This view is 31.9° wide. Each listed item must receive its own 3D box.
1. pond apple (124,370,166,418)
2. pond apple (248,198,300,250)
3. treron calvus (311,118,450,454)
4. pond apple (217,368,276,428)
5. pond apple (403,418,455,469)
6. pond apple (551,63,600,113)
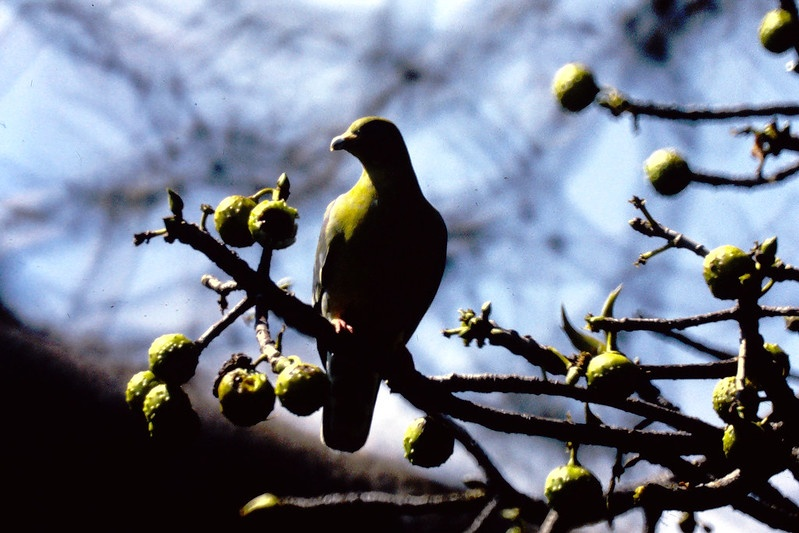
[{"bbox_3d":[-1.707,0.828,9.317,0.264,0.228,0.102,-52,-17,13],"label":"pond apple"},{"bbox_3d":[-0.831,-0.280,9.142,0.318,0.298,0.202,5,-37,-3],"label":"pond apple"},{"bbox_3d":[-0.186,0.110,10.449,1.105,2.518,1.368,0,-6,0],"label":"treron calvus"},{"bbox_3d":[-0.999,0.855,9.190,0.383,0.334,0.277,3,-37,0],"label":"pond apple"},{"bbox_3d":[0.206,1.192,9.450,0.335,0.268,0.284,5,-37,-2],"label":"pond apple"},{"bbox_3d":[1.246,-1.275,9.884,0.326,0.308,0.251,-7,-38,13],"label":"pond apple"}]
